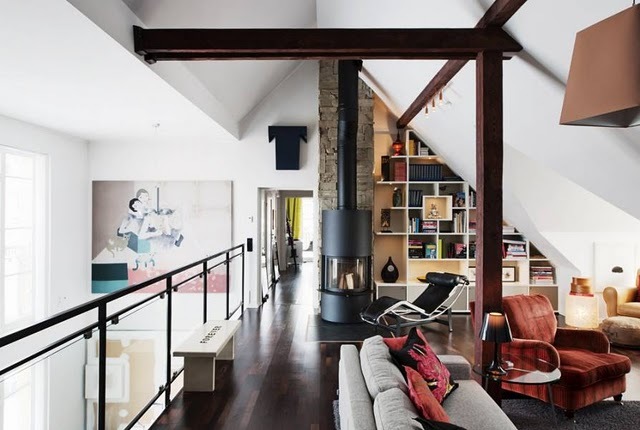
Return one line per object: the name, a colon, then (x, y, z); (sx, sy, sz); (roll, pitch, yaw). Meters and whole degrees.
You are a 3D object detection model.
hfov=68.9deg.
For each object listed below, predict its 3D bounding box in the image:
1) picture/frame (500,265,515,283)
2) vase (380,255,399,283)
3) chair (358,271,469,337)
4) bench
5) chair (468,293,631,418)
picture/frame: (3.247, 1.013, 8.036); (0.281, 0.264, 0.085); (0, -3, -14)
vase: (1.189, 0.945, 8.126); (0.383, 0.531, 0.381); (0, -9, -1)
chair: (1.366, 1.310, 6.988); (1.558, 0.820, 0.762); (0, 0, -23)
bench: (-1.324, 1.671, 5.563); (0.498, 0.681, 0.879); (-1, -3, 7)
chair: (2.487, 1.473, 5.631); (1.233, 1.392, 1.556); (2, -8, -29)
